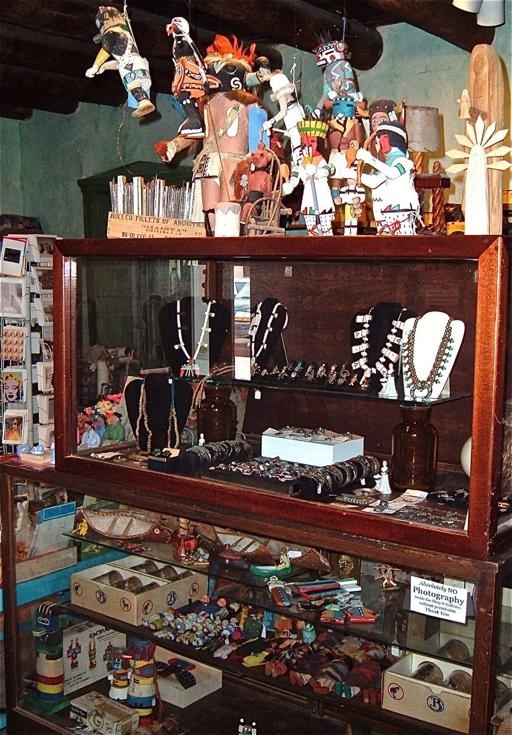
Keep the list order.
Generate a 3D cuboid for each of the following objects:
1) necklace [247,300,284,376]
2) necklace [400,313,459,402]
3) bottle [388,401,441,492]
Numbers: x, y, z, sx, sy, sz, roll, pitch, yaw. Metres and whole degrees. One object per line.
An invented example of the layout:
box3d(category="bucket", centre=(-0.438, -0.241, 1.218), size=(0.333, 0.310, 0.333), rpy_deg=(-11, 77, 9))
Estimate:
box3d(category="necklace", centre=(0.023, -0.072, 1.578), size=(0.053, 0.159, 0.121), rpy_deg=(-4, 30, -31))
box3d(category="necklace", centre=(0.363, -0.025, 1.296), size=(0.093, 0.192, 0.155), rpy_deg=(-15, 19, -38))
box3d(category="bottle", centre=(0.330, 0.173, 1.352), size=(0.052, 0.186, 0.132), rpy_deg=(-3, 3, -30))
